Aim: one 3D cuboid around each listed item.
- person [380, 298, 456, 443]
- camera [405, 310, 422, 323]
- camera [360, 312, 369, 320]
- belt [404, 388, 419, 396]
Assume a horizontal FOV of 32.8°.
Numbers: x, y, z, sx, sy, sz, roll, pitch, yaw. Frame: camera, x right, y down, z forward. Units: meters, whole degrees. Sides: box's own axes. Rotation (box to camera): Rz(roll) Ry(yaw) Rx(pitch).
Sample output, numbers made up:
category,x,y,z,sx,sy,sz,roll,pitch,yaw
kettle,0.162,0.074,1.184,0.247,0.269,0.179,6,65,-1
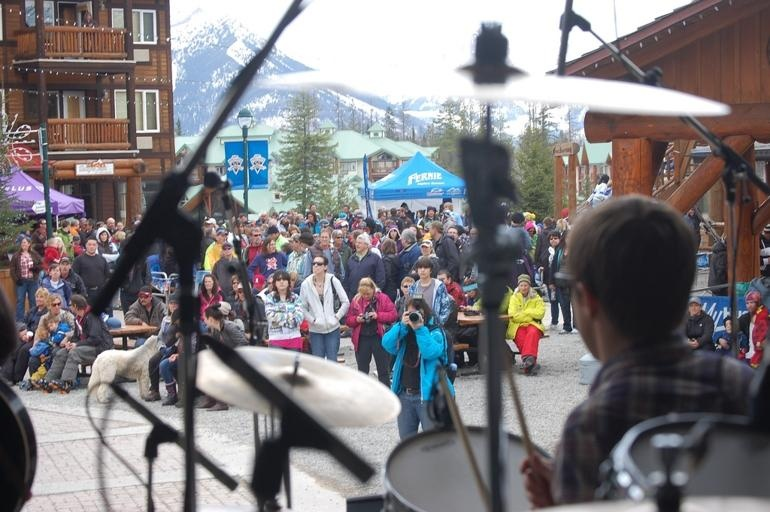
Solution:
category,x,y,z,sx,sy,sz,roll,pitch,yaw
person,0.473,1.983,19.426,0.871,2.629,0.802,2,3,32
camera,0.445,0.877,19.239,0.130,0.183,0.179,4,-1,6
camera,-0.325,0.992,21.635,0.130,0.125,0.048,2,6,9
belt,0.424,1.996,19.344,0.215,0.090,0.047,2,6,4
